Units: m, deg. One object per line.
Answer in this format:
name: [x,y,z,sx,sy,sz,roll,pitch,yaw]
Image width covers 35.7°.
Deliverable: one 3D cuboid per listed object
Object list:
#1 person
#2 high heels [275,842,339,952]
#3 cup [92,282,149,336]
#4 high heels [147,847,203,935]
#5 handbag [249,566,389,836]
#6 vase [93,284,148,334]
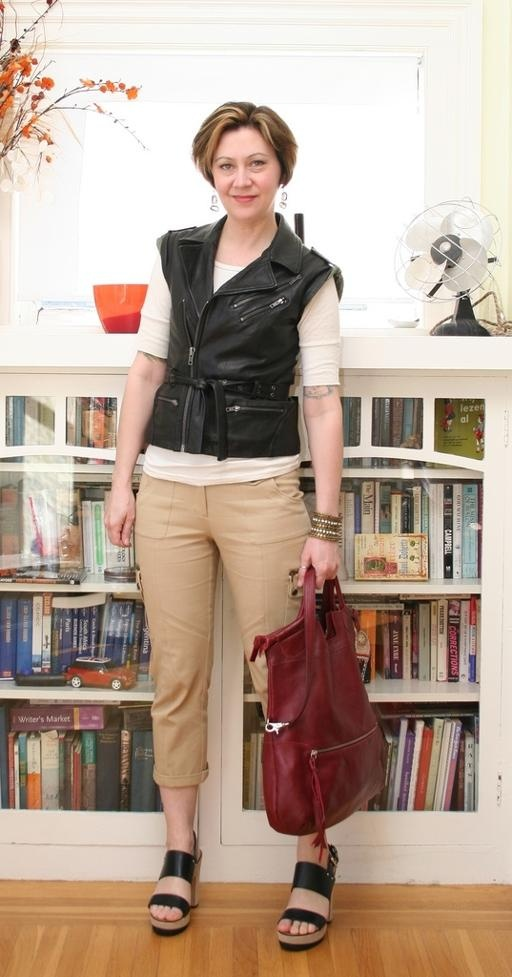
person: [-0.062,0.077,1.452,0.430,1.476,0.209,1,4,3]
high heels: [0.088,0.737,1.433,0.066,0.085,0.197,-1,0,10]
cup: [-0.284,-0.370,1.680,0.110,0.093,0.105,-1,7,0]
high heels: [-0.138,0.733,1.447,0.054,0.080,0.178,1,-4,9]
handbag: [0.109,0.363,1.378,0.250,0.443,0.149,-3,5,-41]
vase: [-0.280,-0.370,1.634,0.102,0.092,0.112,-2,5,-25]
